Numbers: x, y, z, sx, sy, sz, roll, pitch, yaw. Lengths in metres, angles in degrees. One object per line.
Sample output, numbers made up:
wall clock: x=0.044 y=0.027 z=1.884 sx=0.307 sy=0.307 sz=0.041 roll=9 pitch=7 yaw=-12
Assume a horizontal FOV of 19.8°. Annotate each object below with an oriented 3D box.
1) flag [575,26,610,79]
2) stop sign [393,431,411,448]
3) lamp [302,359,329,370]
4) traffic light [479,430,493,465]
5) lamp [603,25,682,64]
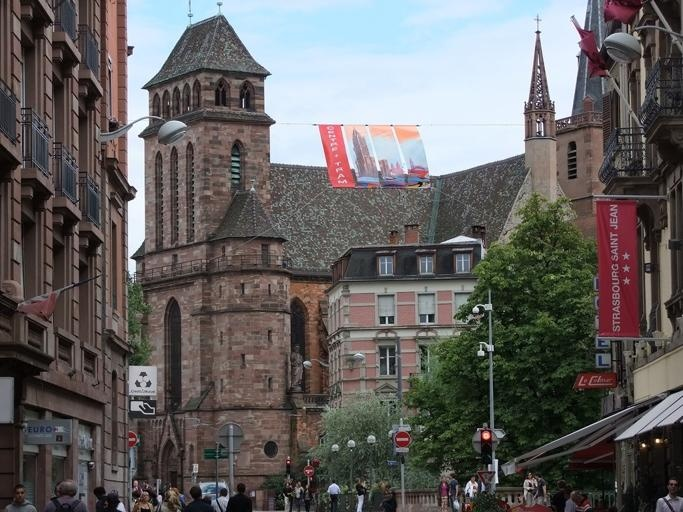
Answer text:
flag: x=6.557 y=-5.460 z=51.504 sx=0.602 sy=1.688 sz=1.970 roll=-7 pitch=-16 yaw=9
stop sign: x=1.901 y=5.467 z=59.542 sx=0.474 sy=0.653 sz=1.257 roll=-4 pitch=-15 yaw=0
lamp: x=-1.518 y=6.261 z=115.819 sx=0.549 sy=0.572 sz=1.874 roll=2 pitch=6 yaw=44
traffic light: x=3.990 y=5.127 z=53.796 sx=0.344 sy=1.004 sz=0.610 roll=-5 pitch=-15 yaw=3
lamp: x=7.132 y=-5.014 z=47.180 sx=2.076 sy=0.946 sz=0.840 roll=-4 pitch=-1 yaw=-16
